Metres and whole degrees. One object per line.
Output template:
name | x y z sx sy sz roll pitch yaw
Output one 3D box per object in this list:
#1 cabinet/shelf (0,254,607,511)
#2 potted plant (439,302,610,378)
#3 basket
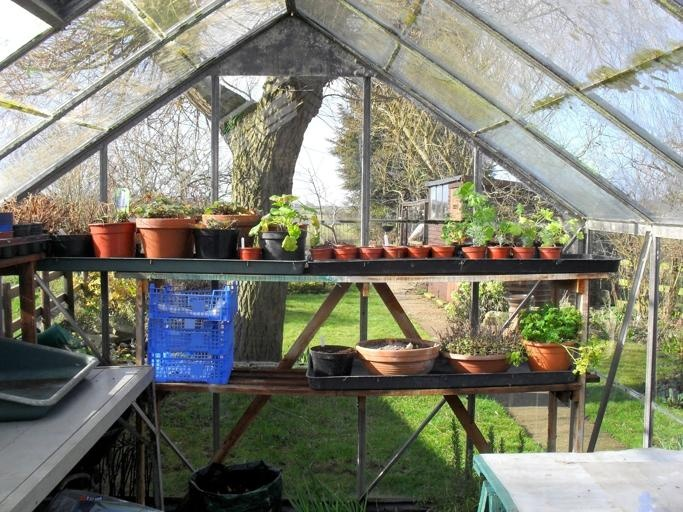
cabinet/shelf | 0.040 0.827 5.172 3.753 1.759 0.624 2 4 -1
potted plant | 1.268 0.623 5.057 0.766 0.395 0.603 -5 3 -4
basket | -1.021 0.567 5.006 0.468 0.675 0.731 1 -2 0
